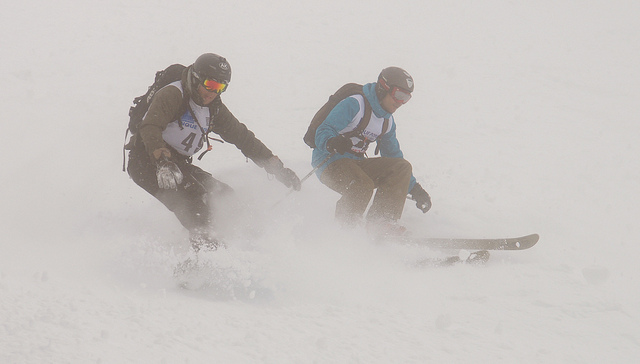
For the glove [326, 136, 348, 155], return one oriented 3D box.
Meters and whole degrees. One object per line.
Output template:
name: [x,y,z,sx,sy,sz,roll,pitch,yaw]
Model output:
glove: [0.480,-1.038,19.910,0.554,0.520,0.392,11,0,1]
